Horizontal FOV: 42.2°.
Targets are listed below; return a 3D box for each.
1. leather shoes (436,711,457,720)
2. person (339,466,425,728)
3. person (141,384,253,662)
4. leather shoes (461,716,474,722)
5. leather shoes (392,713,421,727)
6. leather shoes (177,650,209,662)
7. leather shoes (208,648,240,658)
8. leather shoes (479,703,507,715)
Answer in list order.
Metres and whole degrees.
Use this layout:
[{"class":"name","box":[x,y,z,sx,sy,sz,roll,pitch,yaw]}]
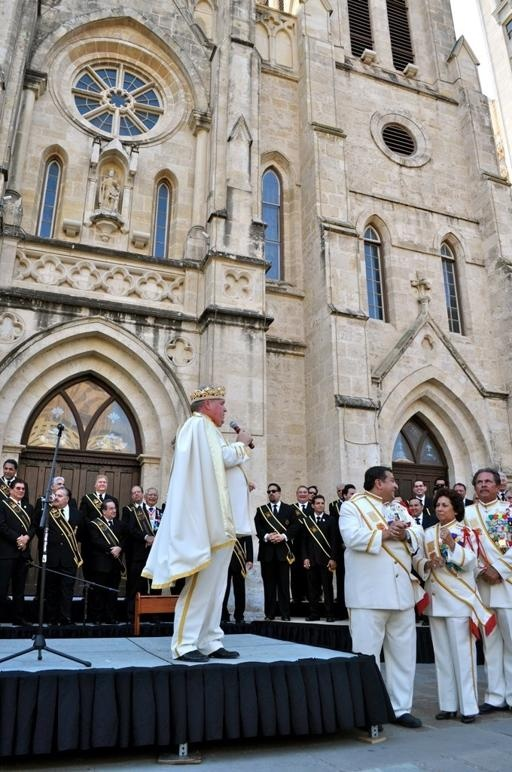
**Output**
[{"class":"leather shoes","box":[1.360,2.334,4.719,0.157,0.050,0.064,7,-10,-25]},{"class":"person","box":[0.927,1.440,4.742,0.635,1.770,0.509,1,-20,-7]},{"class":"person","box":[-0.378,0.881,4.606,0.701,1.892,0.489,13,-25,-35]},{"class":"leather shoes","box":[1.467,2.289,4.579,0.094,0.042,0.151,-8,-20,19]},{"class":"leather shoes","box":[1.010,2.238,4.464,0.133,0.077,0.229,10,-22,-30]},{"class":"leather shoes","box":[-0.404,1.699,4.209,0.193,0.061,0.075,-11,-19,30]},{"class":"leather shoes","box":[-0.213,1.818,4.501,0.227,0.089,0.086,-1,-13,5]},{"class":"leather shoes","box":[1.792,2.433,5.017,0.166,0.065,0.055,11,-34,2]}]
